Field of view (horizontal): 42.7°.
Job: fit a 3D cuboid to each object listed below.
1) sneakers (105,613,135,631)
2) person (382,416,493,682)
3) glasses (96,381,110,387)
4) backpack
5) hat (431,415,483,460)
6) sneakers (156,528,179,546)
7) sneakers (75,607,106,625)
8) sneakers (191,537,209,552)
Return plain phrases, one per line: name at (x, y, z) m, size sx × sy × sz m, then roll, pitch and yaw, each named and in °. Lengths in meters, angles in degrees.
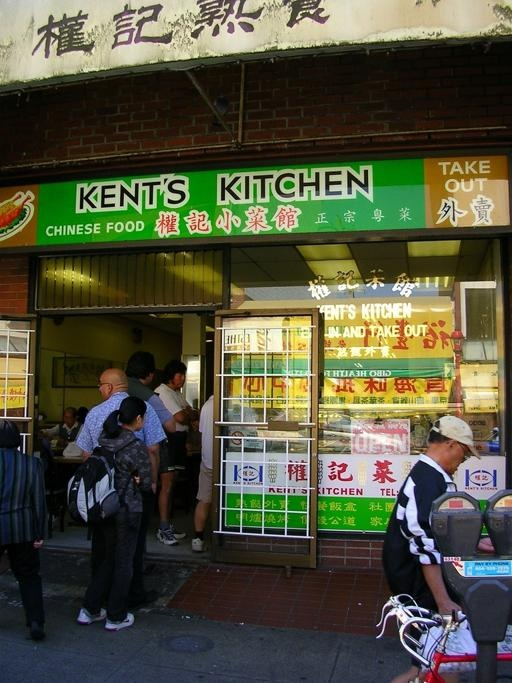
sneakers at (-0.827, 1.704, 3.999) m, size 0.075 × 0.085 × 0.197 m, roll -1°, pitch -3°, yaw 20°
person at (0.721, 0.715, 2.705) m, size 0.392 × 0.800 × 0.463 m, roll 0°, pitch -4°, yaw 12°
glasses at (-1.082, 0.298, 4.656) m, size 0.124 × 0.035 × 0.122 m, roll 6°, pitch -11°, yaw -3°
backpack at (-0.916, 0.833, 3.834) m, size 0.532 × 0.507 × 0.375 m, roll 13°, pitch -28°, yaw -40°
hat at (0.839, 0.374, 2.819) m, size 0.203 × 0.095 × 0.137 m, roll 20°, pitch 1°, yaw -6°
sneakers at (-0.797, 1.758, 5.896) m, size 0.100 × 0.095 × 0.229 m, roll 9°, pitch -13°, yaw -42°
sneakers at (-1.017, 1.694, 4.078) m, size 0.077 × 0.081 × 0.202 m, roll 0°, pitch -3°, yaw 28°
sneakers at (-0.487, 1.724, 5.587) m, size 0.116 × 0.122 × 0.157 m, roll 1°, pitch -3°, yaw -7°
